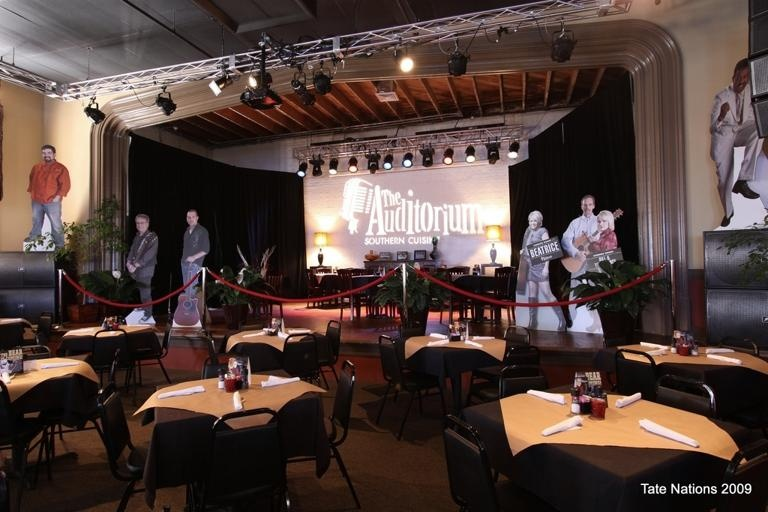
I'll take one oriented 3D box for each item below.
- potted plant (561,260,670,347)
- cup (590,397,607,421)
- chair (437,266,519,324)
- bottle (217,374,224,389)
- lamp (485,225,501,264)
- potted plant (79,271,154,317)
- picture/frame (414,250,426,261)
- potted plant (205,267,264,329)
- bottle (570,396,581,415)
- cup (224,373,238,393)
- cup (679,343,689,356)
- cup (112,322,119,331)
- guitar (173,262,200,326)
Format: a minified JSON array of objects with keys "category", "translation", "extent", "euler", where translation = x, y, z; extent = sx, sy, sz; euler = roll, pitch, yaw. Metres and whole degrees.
[{"category":"potted plant","translation":[3.583,0.672,8.770],"extent":[1.395,1.052,1.416],"euler":[5,-11,-22]},{"category":"cup","translation":[1.956,1.387,5.066],"extent":[0.138,0.198,0.072],"euler":[-2,-2,7]},{"category":"chair","translation":[1.989,0.725,10.855],"extent":[1.276,1.690,1.130],"euler":[1,2,36]},{"category":"bottle","translation":[-1.653,1.285,5.650],"extent":[0.043,0.135,0.089],"euler":[0,-3,-37]},{"category":"lamp","translation":[2.721,-0.288,13.667],"extent":[0.407,0.946,0.326],"euler":[-2,-2,8]},{"category":"potted plant","translation":[-5.359,0.723,11.090],"extent":[1.005,0.797,1.091],"euler":[-3,-7,26]},{"category":"picture/frame","translation":[0.915,-0.005,14.110],"extent":[0.235,0.214,0.086],"euler":[0,-8,11]},{"category":"potted plant","translation":[-2.865,0.754,10.577],"extent":[1.092,1.116,1.249],"euler":[-3,-8,8]},{"category":"bottle","translation":[1.757,1.373,5.112],"extent":[0.103,0.158,0.064],"euler":[-3,-3,33]},{"category":"cup","translation":[-1.533,1.283,5.582],"extent":[0.134,0.156,0.143],"euler":[0,-9,0]},{"category":"cup","translation":[3.378,1.077,6.266],"extent":[0.107,0.110,0.111],"euler":[0,-9,0]},{"category":"cup","translation":[-3.772,0.993,7.843],"extent":[0.099,0.084,0.097],"euler":[4,3,0]},{"category":"guitar","translation":[-3.762,0.741,10.592],"extent":[0.486,1.196,1.995],"euler":[-1,-3,-20]}]
